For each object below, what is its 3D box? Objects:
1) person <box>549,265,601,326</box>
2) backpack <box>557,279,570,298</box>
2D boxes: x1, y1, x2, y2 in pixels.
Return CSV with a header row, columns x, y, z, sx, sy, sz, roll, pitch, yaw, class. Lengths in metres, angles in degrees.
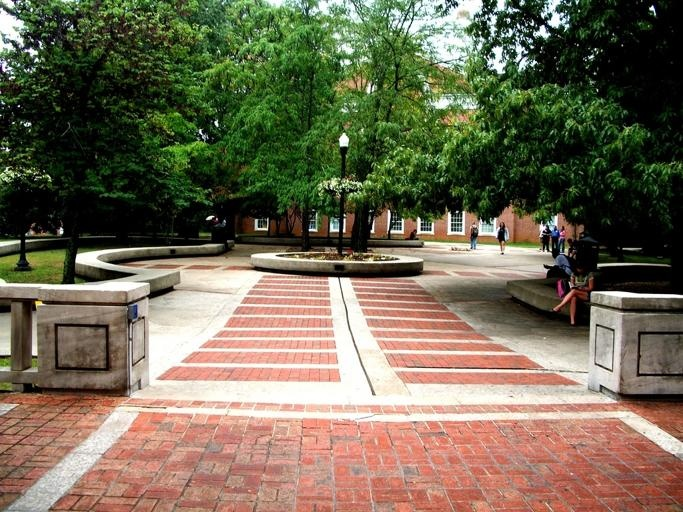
x,y,z,sx,sy,sz,roll,pitch,yaw,class
5.093,0.808,12.119,0.509,1.247,0.809,0,6,-11,person
5.007,0.700,12.536,0.170,0.243,0.344,1,-25,2,backpack
